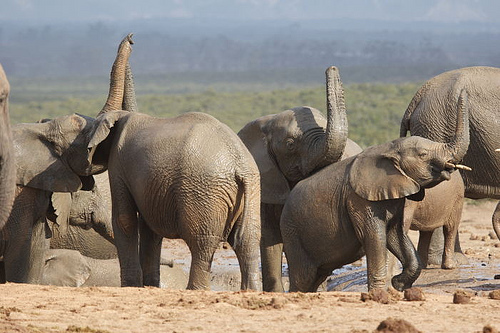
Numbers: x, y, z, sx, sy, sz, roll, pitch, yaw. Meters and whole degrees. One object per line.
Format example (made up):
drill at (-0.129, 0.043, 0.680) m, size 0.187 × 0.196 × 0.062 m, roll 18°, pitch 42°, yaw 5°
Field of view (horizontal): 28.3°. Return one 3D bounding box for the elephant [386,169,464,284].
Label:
elephant at (2.345, 0.730, 13.637) m, size 1.836 × 1.191 × 0.850 m, roll -1°, pitch -1°, yaw -36°

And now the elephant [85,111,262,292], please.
elephant at (-1.285, 0.415, 12.889) m, size 3.086 × 2.365 × 1.487 m, roll 4°, pitch 5°, yaw 34°
